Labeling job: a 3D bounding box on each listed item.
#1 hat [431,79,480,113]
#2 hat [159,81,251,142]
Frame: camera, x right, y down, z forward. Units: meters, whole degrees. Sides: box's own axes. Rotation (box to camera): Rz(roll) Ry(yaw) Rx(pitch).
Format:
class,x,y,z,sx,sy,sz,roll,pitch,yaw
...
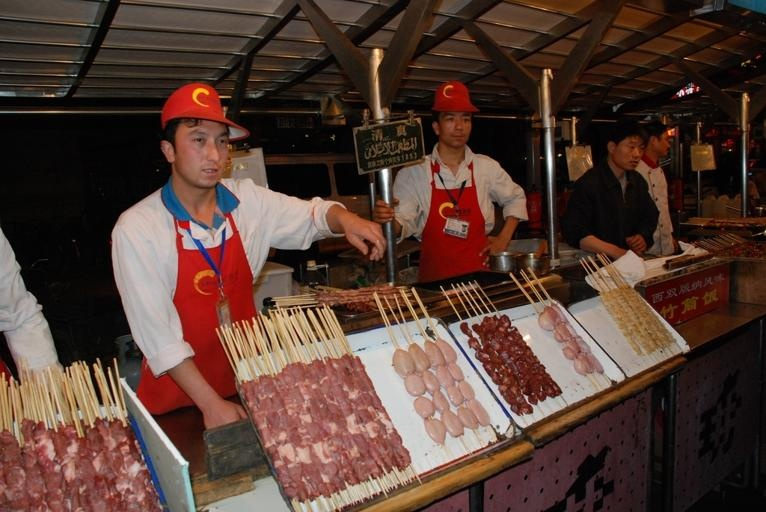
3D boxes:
class,x,y,z,sx,sy,sz,roll,pitch,yaw
hat,0.573,-1.373,4.625,0.284,0.190,0.363,-2,11,-11
hat,-1.046,-0.817,3.043,0.490,0.262,0.394,3,2,24
